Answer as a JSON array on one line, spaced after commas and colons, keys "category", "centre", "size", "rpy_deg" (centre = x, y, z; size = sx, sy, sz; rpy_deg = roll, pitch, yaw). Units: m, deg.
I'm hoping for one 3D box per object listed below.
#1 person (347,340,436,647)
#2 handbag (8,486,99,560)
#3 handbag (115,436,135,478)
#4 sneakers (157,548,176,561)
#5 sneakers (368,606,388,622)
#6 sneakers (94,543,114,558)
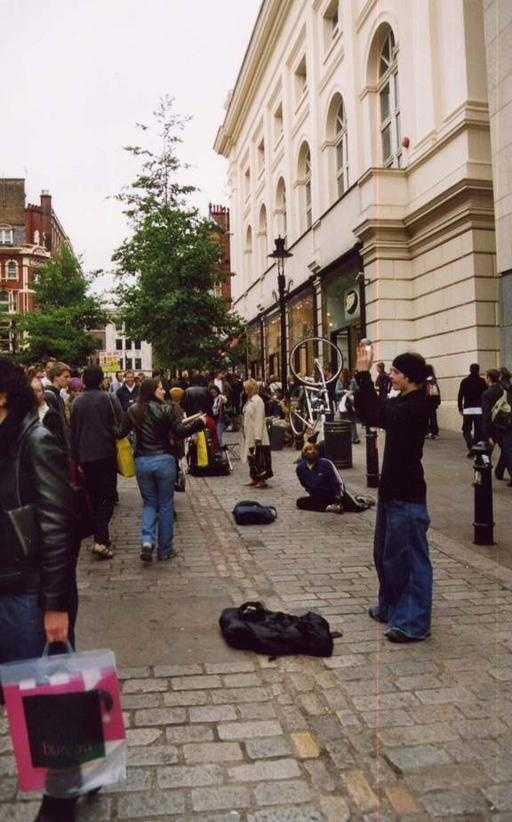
[{"category": "person", "centre": [0.894, 0.479, 4.455], "size": [0.459, 1.824, 0.625], "rpy_deg": [-1, 2, 15]}, {"category": "handbag", "centre": [-0.724, 0.381, 2.471], "size": [0.186, 0.193, 0.267], "rpy_deg": [-4, 5, -6]}, {"category": "handbag", "centre": [-1.262, 0.435, 6.704], "size": [0.117, 0.285, 0.348], "rpy_deg": [-4, 12, -8]}, {"category": "sneakers", "centre": [-0.828, 1.333, 6.504], "size": [0.063, 0.095, 0.192], "rpy_deg": [7, 18, 29]}, {"category": "sneakers", "centre": [0.813, 1.354, 4.679], "size": [0.048, 0.068, 0.152], "rpy_deg": [1, 5, -8]}, {"category": "sneakers", "centre": [-1.441, 1.317, 6.582], "size": [0.088, 0.122, 0.257], "rpy_deg": [-5, -22, 0]}]
